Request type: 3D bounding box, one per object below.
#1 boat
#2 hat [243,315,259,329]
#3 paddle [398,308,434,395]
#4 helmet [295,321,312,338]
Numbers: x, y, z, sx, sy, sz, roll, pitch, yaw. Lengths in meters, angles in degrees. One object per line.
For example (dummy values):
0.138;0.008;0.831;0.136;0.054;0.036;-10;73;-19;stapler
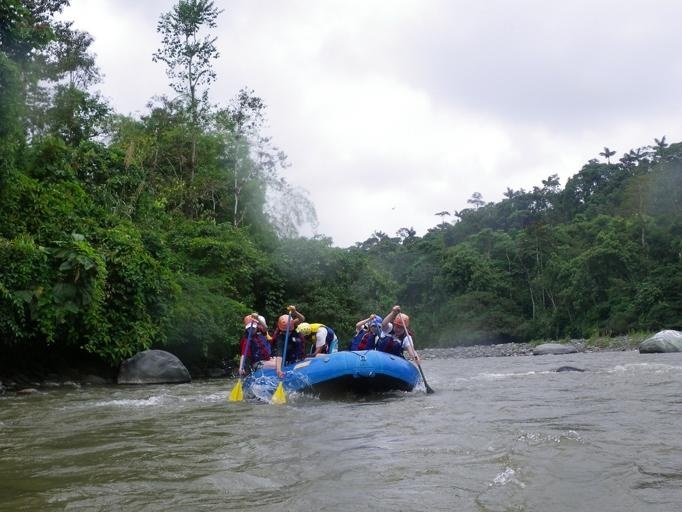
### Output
-0.135;2.472;11.648;2.529;0.544;1.534;1;-25;-3;boat
-2.012;1.488;12.811;0.278;0.250;0.457;2;-3;-10;hat
1.613;2.006;13.011;0.207;2.712;0.409;8;-55;-26;paddle
-0.857;1.683;13.020;0.283;0.289;0.238;-5;-4;14;helmet
